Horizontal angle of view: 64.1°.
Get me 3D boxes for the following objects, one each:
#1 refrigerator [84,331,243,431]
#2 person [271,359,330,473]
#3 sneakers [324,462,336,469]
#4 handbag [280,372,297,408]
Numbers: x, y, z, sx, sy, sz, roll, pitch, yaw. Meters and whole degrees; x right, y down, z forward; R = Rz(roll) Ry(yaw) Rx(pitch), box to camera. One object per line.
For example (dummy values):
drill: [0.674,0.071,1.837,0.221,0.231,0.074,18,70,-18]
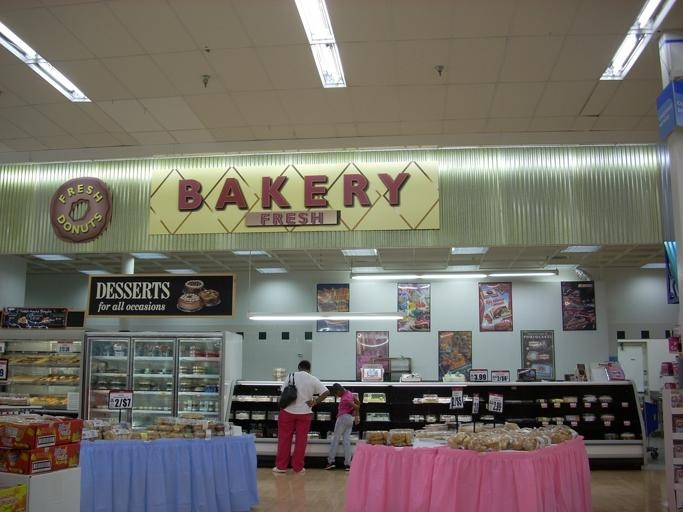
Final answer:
refrigerator: [-3.176,2.177,9.442,1.869,1.676,0.710,0,-7,1]
person: [-0.669,2.740,9.235,0.866,1.858,0.634,0,-12,-7]
sneakers: [-0.204,3.703,9.562,0.092,0.106,0.254,9,-18,-29]
handbag: [-0.877,2.275,9.117,0.304,0.568,0.208,-5,-13,18]
